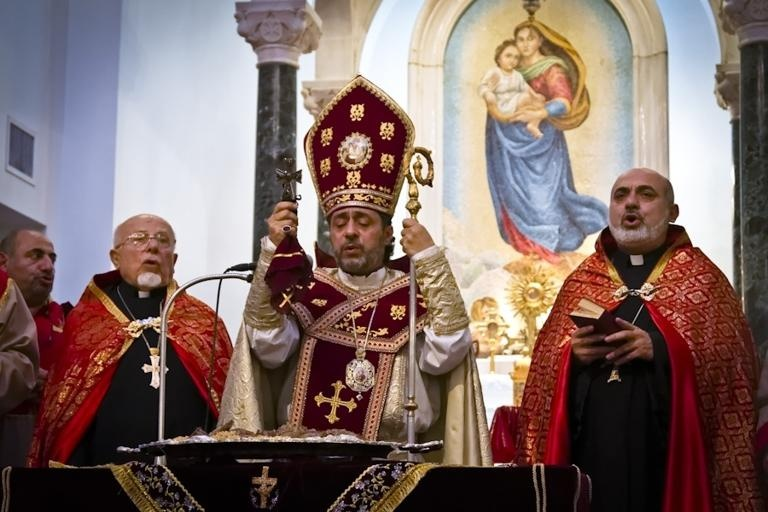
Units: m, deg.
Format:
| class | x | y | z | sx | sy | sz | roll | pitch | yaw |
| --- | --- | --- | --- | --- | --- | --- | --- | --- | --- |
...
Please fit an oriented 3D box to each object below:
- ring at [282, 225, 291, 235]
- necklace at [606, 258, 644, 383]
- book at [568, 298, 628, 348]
| class | x | y | z | sx | sy | sz | roll | pitch | yaw |
| --- | --- | --- | --- | --- | --- | --- | --- | --- | --- |
| ring | -0.589 | -0.161 | 7.071 | 0.056 | 0.057 | 0.023 | -3 | 3 | -8 |
| necklace | 1.565 | 0.484 | 7.655 | 0.027 | 0.637 | 0.230 | 33 | -27 | -33 |
| book | 1.319 | 0.391 | 7.371 | 0.247 | 0.063 | 0.258 | 6 | -34 | 43 |
